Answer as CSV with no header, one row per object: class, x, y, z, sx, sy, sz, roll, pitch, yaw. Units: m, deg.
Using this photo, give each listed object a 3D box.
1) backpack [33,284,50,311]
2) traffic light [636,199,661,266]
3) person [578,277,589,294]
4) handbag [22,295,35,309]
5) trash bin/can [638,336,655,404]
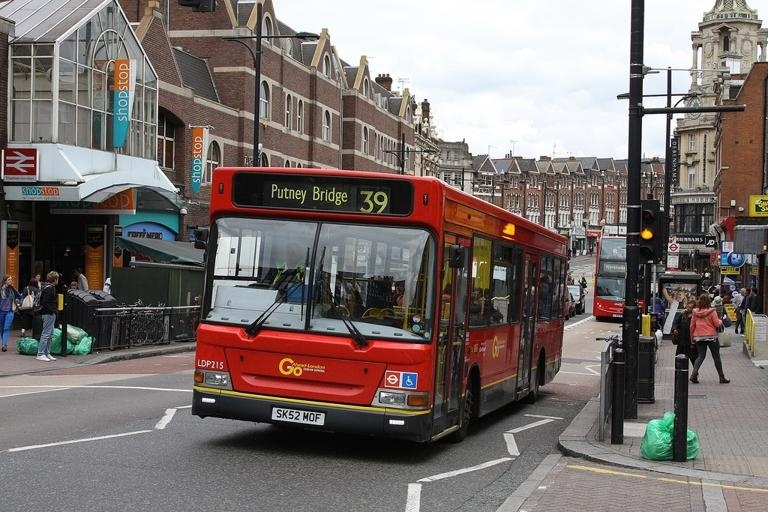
backpack,-8.736,1.042,21.268,0.302,0.734,0.620,2,-1,-37
traffic light,4.873,-0.494,15.019,0.402,0.783,0.453,1,-1,18
person,17.408,2.567,71.722,1.000,0.784,1.428,1,-30,10
handbag,-10.291,1.323,23.970,0.350,0.349,0.174,3,-9,-17
trash bin/can,5.389,2.343,16.905,0.319,0.965,0.798,1,-1,17
